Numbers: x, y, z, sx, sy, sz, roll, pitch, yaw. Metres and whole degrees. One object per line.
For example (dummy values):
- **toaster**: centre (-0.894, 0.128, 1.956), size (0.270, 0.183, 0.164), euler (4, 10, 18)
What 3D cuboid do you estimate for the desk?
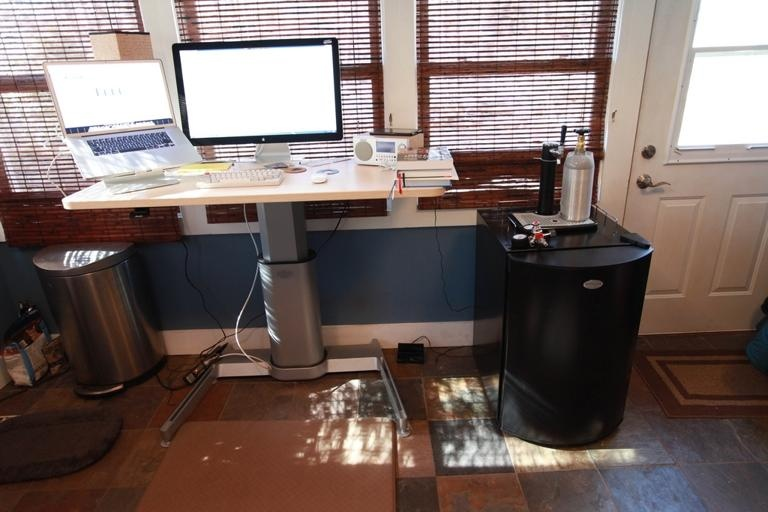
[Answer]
- **desk**: centre (-0.641, 0.285, 3.782), size (2.362, 1.603, 1.358), euler (-1, 28, 0)

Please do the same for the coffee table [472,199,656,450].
- **coffee table**: centre (0.884, 0.302, 3.235), size (0.991, 1.385, 1.146), euler (-3, 23, -1)

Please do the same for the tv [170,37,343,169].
- **tv**: centre (-0.688, -0.847, 3.050), size (0.801, 0.565, 0.209), euler (-1, 26, -3)

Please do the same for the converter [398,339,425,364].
- **converter**: centre (0.165, 0.599, 3.553), size (0.126, 0.079, 0.129), euler (0, 5, 4)
